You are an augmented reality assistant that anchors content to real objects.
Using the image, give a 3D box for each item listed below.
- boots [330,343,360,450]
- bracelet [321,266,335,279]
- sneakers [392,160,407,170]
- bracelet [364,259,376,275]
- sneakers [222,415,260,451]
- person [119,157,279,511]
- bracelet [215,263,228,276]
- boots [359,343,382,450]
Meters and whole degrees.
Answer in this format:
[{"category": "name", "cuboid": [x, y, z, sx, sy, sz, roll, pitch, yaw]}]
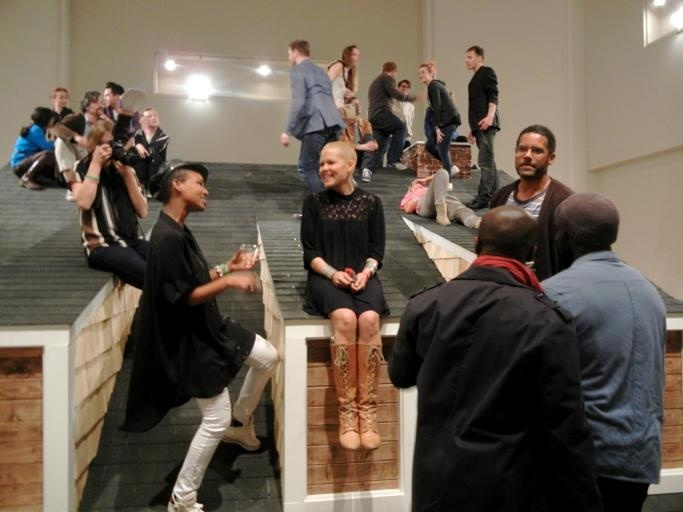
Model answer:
[{"category": "boots", "cuboid": [0.034, 0.860, 3.776, 0.161, 0.598, 0.266, -3, 9, 0]}, {"category": "bracelet", "cuboid": [-0.081, 0.109, 4.032, 0.077, 0.078, 0.025, -5, -16, 28]}, {"category": "sneakers", "cuboid": [1.008, -1.527, 10.214, 0.121, 0.113, 0.284, -4, 8, -6]}, {"category": "bracelet", "cuboid": [0.205, 0.064, 4.134, 0.067, 0.090, 0.091, -21, 27, 1]}, {"category": "sneakers", "cuboid": [-0.685, 1.262, 4.338, 0.288, 0.176, 0.138, 15, -3, 12]}, {"category": "person", "cuboid": [-0.826, 0.502, 3.753, 0.699, 2.161, 0.870, 1, 10, 23]}, {"category": "bracelet", "cuboid": [-0.775, 0.088, 3.951, 0.069, 0.064, 0.056, -32, -13, 34]}, {"category": "boots", "cuboid": [0.181, 0.860, 3.799, 0.158, 0.590, 0.269, -2, 9, 3]}]
